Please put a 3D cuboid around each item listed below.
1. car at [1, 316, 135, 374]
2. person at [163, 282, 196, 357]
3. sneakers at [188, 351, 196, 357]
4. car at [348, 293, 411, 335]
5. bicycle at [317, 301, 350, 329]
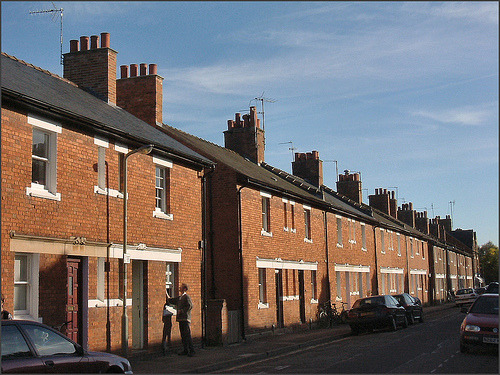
[{"bbox_3d":[-4.726,3.921,18.644,2.528,0.867,1.165,8,-14,-39],"label":"car"},{"bbox_3d":[-2.560,4.707,27.213,0.969,2.534,1.558,-2,-12,-5],"label":"person"},{"bbox_3d":[-2.037,5.744,26.402,0.241,0.200,0.485,-2,-13,-5],"label":"sneakers"},{"bbox_3d":[5.887,5.710,34.661,1.397,1.662,3.120,-13,-16,37],"label":"car"},{"bbox_3d":[4.093,6.587,39.746,0.938,1.138,1.965,-5,-6,38],"label":"bicycle"}]
